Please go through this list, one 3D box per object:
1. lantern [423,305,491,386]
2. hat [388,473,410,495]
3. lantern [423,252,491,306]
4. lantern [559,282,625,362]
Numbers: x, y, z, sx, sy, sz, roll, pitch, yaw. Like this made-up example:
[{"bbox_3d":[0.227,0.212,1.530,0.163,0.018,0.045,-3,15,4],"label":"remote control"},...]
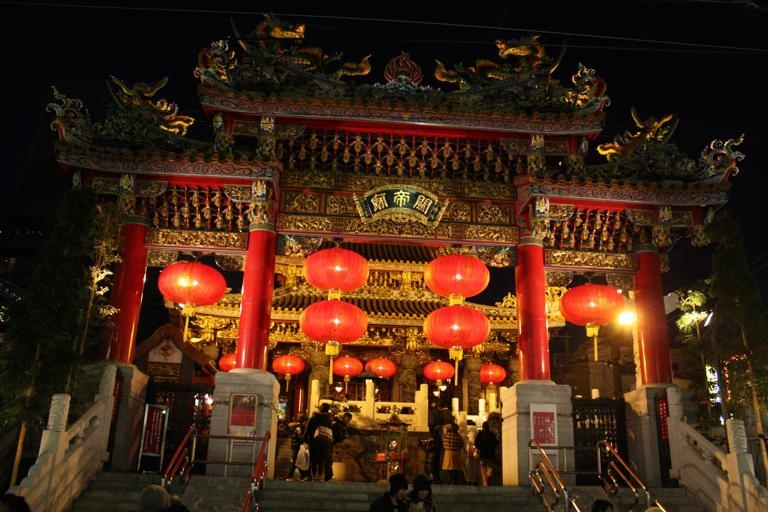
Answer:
[{"bbox_3d":[1.650,1.548,14.175,1.381,0.903,0.540,2,-20,0],"label":"lantern"},{"bbox_3d":[0.182,2.874,7.913,0.206,0.234,0.266,3,-20,0],"label":"hat"},{"bbox_3d":[1.611,0.412,13.887,1.337,0.817,0.581,3,-20,-1],"label":"lantern"},{"bbox_3d":[4.680,1.335,14.071,1.357,1.638,0.865,-4,-22,17],"label":"lantern"}]
